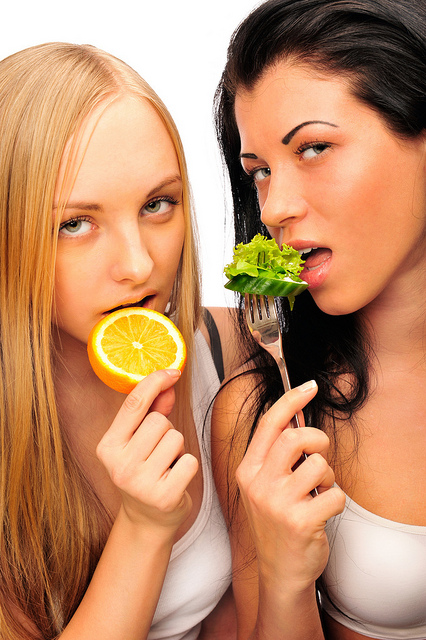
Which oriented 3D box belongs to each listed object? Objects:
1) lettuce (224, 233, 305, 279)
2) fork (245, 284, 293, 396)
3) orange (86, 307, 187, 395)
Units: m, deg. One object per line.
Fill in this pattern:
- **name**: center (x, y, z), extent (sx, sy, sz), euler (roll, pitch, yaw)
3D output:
- **lettuce**: center (0.147, -0.214, 1.741), extent (0.261, 0.127, 0.177), euler (-1, 25, -5)
- **fork**: center (0.190, 0.080, 2.027), extent (0.059, 0.398, 0.060), euler (-15, -21, 12)
- **orange**: center (-0.216, 0.075, 1.713), extent (0.288, 0.190, 0.085), euler (-19, 8, -30)
